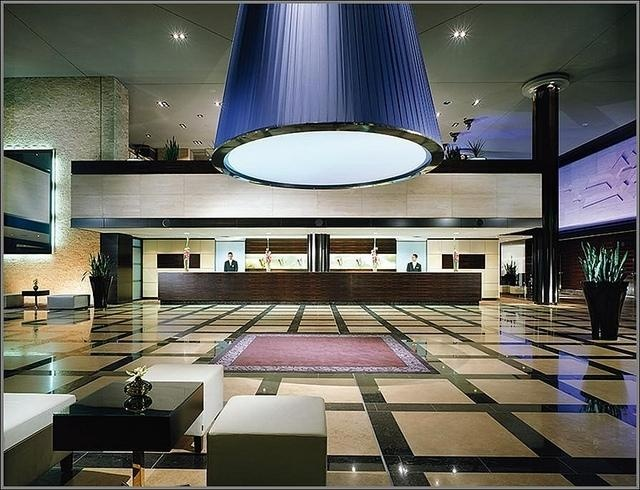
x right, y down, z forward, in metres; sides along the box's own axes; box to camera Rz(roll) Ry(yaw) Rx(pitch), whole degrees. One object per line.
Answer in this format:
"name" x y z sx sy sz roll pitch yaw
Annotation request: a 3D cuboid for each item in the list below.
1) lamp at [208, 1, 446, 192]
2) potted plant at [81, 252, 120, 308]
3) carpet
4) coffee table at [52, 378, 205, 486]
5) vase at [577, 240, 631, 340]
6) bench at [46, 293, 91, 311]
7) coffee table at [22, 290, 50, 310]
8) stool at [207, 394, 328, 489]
"lamp" 0.039 -1.009 3.124 1.450 1.134 1.307 1 -14 -5
"potted plant" -5.868 0.922 11.381 0.779 1.449 0.898 1 -1 -16
"carpet" 0.016 1.513 6.171 2.690 0.051 2.305 0 -1 1
"coffee table" -1.359 1.178 3.190 0.746 0.588 0.968 1 -5 2
"vase" 4.857 0.807 7.366 0.668 1.565 0.814 0 -1 30
"bench" -6.301 1.437 10.767 0.502 0.268 0.655 0 -2 -8
"coffee table" -7.502 1.460 11.380 0.399 0.390 0.629 -1 -2 3
"stool" -0.358 1.323 3.056 0.656 0.452 0.593 0 -6 -1
